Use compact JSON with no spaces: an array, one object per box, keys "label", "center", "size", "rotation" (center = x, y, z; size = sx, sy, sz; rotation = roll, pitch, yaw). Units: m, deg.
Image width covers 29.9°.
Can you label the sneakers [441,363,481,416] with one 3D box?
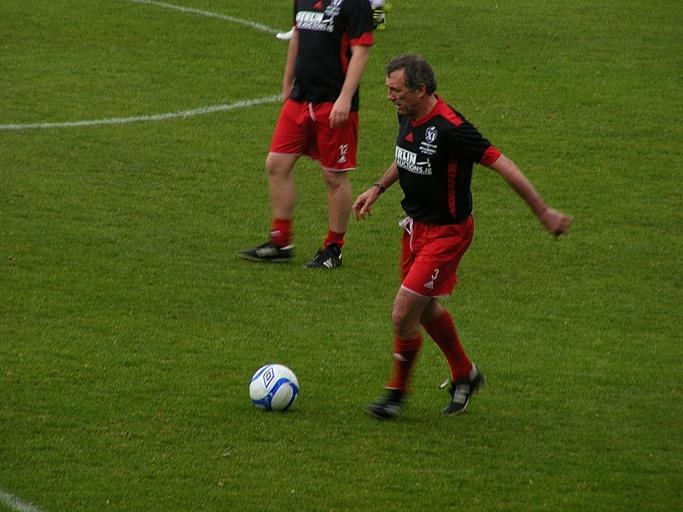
[{"label":"sneakers","center":[1.029,1.178,11.298],"size":[0.199,0.271,0.571],"rotation":[3,44,50]}]

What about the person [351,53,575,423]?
[{"label":"person","center":[0.895,-0.355,11.027],"size":[1.554,3.266,1.183],"rotation":[-2,10,-19]}]
